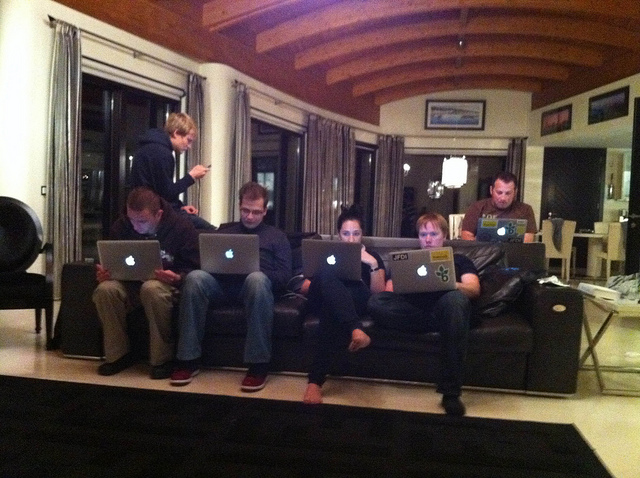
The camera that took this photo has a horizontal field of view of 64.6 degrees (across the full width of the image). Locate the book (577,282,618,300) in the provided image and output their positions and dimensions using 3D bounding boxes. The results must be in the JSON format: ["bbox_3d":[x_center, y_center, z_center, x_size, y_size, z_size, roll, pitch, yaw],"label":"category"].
[{"bbox_3d":[1.919,0.359,3.543,0.163,0.069,0.337,3,12,6],"label":"book"}]

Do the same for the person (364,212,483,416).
[{"bbox_3d":[0.707,0.422,3.351,0.766,1.339,0.836,3,-15,-5],"label":"person"}]

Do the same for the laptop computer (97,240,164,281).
[{"bbox_3d":[-1.249,0.128,3.462,0.462,0.301,0.347,1,11,0],"label":"laptop computer"}]

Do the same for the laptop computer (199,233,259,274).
[{"bbox_3d":[-0.596,0.091,3.302,0.384,0.260,0.267,1,7,2],"label":"laptop computer"}]

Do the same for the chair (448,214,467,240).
[{"bbox_3d":[1.472,-0.122,5.433,0.263,0.347,0.267,2,4,13],"label":"chair"}]

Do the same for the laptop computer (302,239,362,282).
[{"bbox_3d":[0.119,0.153,3.412,0.437,0.294,0.324,-2,-3,22],"label":"laptop computer"}]

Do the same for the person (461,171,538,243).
[{"bbox_3d":[1.619,-0.190,4.550,0.606,0.816,0.725,9,16,29],"label":"person"}]

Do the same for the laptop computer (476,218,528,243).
[{"bbox_3d":[1.390,-0.065,3.896,0.293,0.201,0.209,2,9,12],"label":"laptop computer"}]

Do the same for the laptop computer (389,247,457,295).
[{"bbox_3d":[0.629,0.199,3.285,0.410,0.276,0.301,-6,5,2],"label":"laptop computer"}]
